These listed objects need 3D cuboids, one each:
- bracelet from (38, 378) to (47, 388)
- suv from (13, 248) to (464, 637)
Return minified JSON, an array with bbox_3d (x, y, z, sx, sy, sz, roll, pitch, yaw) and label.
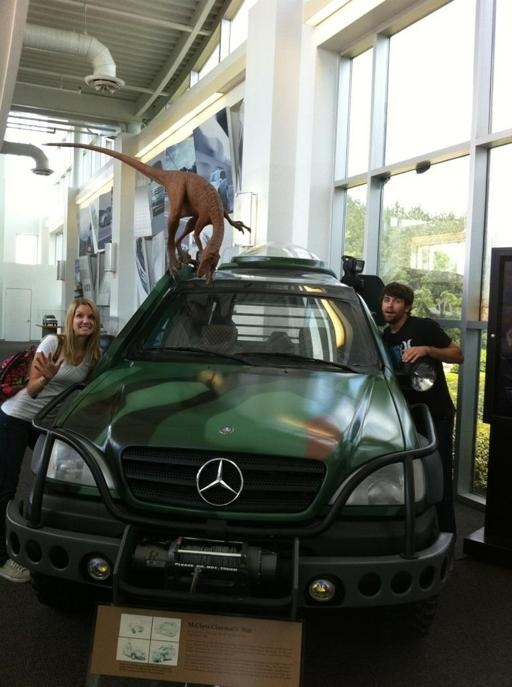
[{"bbox_3d":[-1.039,0.196,2.396,0.033,0.044,0.011,21,10,31],"label":"bracelet"},{"bbox_3d":[0.069,0.079,2.206,1.177,1.045,2.020,-1,1,8],"label":"suv"}]
